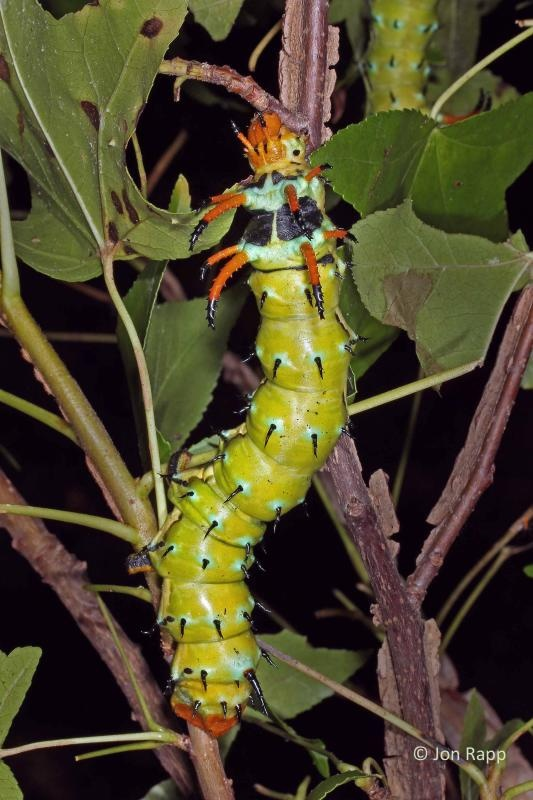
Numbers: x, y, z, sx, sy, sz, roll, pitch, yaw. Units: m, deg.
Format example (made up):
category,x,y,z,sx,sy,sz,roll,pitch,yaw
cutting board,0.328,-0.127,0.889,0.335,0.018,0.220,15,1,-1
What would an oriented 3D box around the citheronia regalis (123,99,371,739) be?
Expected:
category,x,y,z,sx,sy,sz,roll,pitch,yaw
citheronia regalis,-0.043,0.059,1.039,0.285,0.767,0.264,8,17,0
